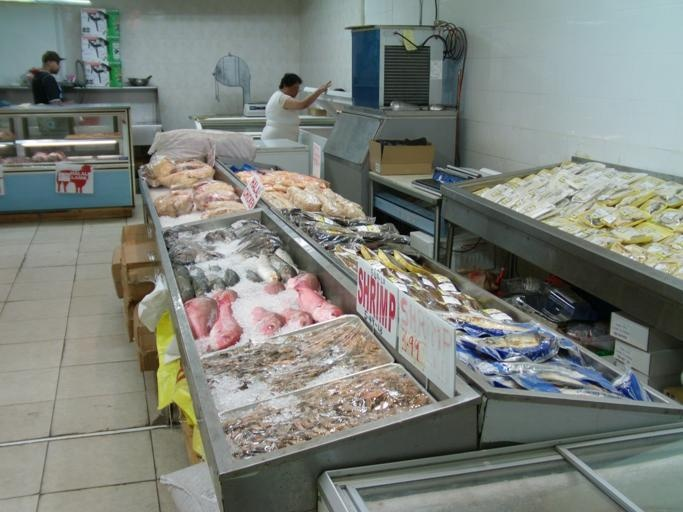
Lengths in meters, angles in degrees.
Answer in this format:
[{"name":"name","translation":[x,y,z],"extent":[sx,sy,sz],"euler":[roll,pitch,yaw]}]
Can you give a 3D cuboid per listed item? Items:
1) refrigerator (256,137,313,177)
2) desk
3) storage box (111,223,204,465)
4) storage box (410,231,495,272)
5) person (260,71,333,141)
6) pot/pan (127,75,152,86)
[{"name":"refrigerator","translation":[-0.655,-1.041,5.305],"extent":[0.677,0.477,0.681],"euler":[1,6,-12]},{"name":"desk","translation":[0.514,-0.344,3.733],"extent":[0.297,0.559,0.690],"euler":[-11,26,-26]},{"name":"storage box","translation":[-0.950,0.491,2.497],"extent":[0.365,0.609,1.198],"euler":[-9,43,-13]},{"name":"storage box","translation":[0.924,-0.193,4.016],"extent":[0.392,0.564,0.627],"euler":[-1,10,-11]},{"name":"person","translation":[-0.707,-1.917,6.258],"extent":[0.695,0.841,0.630],"euler":[-6,22,-14]},{"name":"pot/pan","translation":[-3.606,-3.115,8.625],"extent":[0.515,0.159,0.311],"euler":[9,22,25]}]
